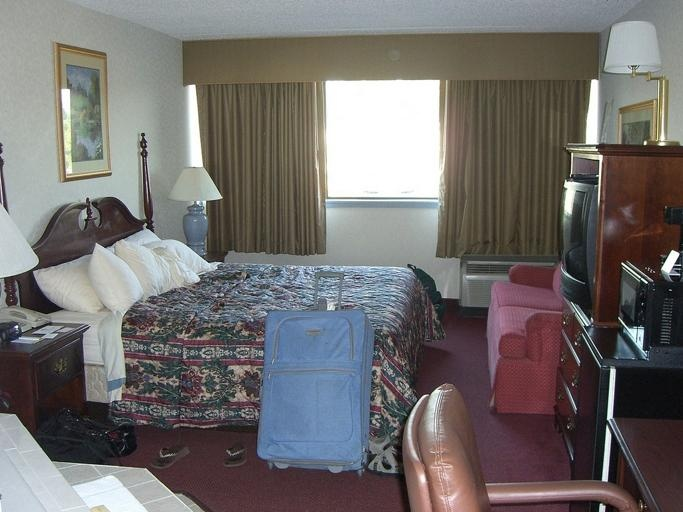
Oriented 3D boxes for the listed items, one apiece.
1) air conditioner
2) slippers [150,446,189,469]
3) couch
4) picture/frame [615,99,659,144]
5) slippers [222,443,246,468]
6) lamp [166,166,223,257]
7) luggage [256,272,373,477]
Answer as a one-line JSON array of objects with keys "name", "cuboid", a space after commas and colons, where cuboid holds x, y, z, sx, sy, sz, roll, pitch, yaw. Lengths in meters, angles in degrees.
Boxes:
[{"name": "air conditioner", "cuboid": [1.847, 0.294, 6.128, 0.951, 0.626, 0.469, -1, 10, 16]}, {"name": "slippers", "cuboid": [-1.117, 1.305, 3.464, 0.080, 0.075, 0.222, 4, 6, 28]}, {"name": "couch", "cuboid": [1.783, 0.652, 4.856, 0.728, 0.846, 2.171, 5, 9, 16]}, {"name": "picture/frame", "cuboid": [2.614, -1.123, 4.744, 0.022, 0.437, 0.580, 32, 26, 34]}, {"name": "slippers", "cuboid": [-0.696, 1.303, 3.486, 0.136, 0.026, 0.204, -2, 15, -9]}, {"name": "lamp", "cuboid": [-1.581, -0.482, 5.761, 0.540, 0.899, 0.571, 4, 6, 32]}, {"name": "luggage", "cuboid": [-0.159, 0.679, 3.195, 0.571, 1.081, 0.343, 0, -4, 5]}]
